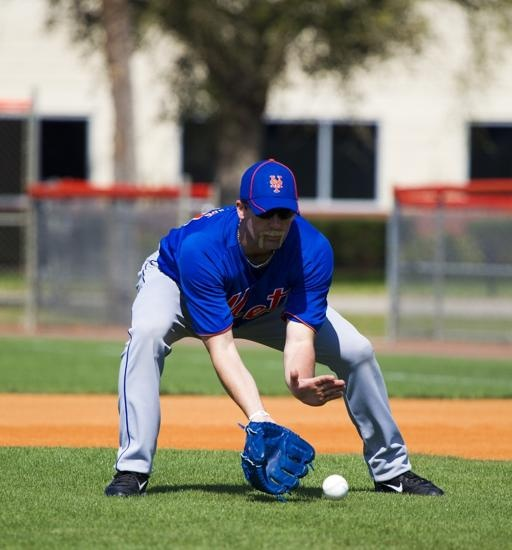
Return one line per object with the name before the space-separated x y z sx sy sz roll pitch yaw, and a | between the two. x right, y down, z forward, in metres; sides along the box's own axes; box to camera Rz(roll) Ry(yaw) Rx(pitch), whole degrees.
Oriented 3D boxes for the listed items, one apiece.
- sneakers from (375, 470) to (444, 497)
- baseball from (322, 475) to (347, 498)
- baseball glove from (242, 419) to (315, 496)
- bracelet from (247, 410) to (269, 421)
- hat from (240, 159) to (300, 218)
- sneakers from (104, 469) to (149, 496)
sneakers | 0.752 1.027 6.587 0.321 0.151 0.126 -6 -6 23
baseball | 0.370 0.993 6.294 0.085 0.101 0.095 4 -1 -17
baseball glove | 0.099 0.843 6.169 0.358 0.359 0.150 -6 1 -36
bracelet | 0.022 0.652 6.122 0.062 0.032 0.050 -6 -18 8
hat | 0.056 -0.401 6.216 0.178 0.180 0.285 -2 18 -17
sneakers | -0.598 0.985 6.349 0.085 0.115 0.231 0 -11 17
